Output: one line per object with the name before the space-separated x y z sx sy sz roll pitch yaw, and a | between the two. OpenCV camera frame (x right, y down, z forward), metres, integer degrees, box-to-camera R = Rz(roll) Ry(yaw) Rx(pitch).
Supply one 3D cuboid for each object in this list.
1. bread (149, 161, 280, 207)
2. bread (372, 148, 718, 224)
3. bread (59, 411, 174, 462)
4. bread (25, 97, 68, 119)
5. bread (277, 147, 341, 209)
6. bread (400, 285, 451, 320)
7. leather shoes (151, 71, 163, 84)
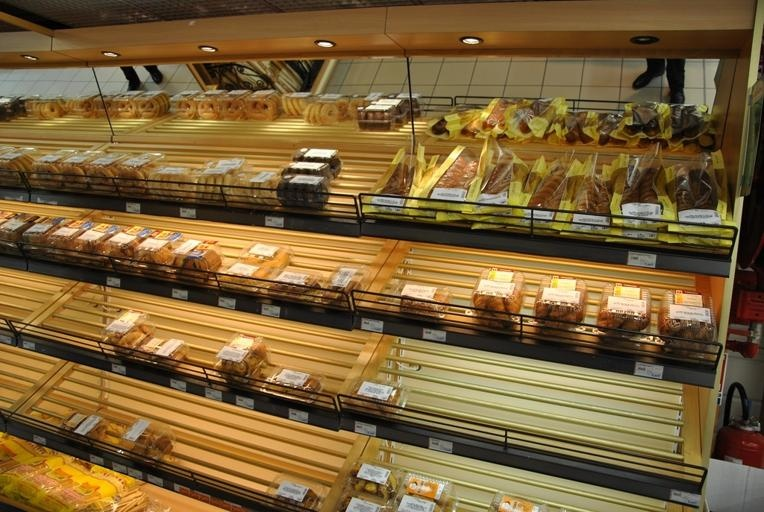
bread | -0.861 -0.355 2.507 0.656 0.106 0.305 6 31 15
bread | 0.700 -0.329 2.153 1.479 0.305 0.674 8 20 23
bread | -1.517 1.039 2.683 0.839 0.158 0.197 7 61 15
bread | -2.781 -1.236 3.910 0.284 0.093 0.319 -3 8 -18
bread | -0.357 -0.383 2.372 0.289 0.142 0.476 5 36 18
bread | 0.201 0.201 2.212 0.250 0.099 0.143 8 59 19
leather shoes | -1.778 -1.421 3.739 0.042 0.054 0.118 -35 54 21
